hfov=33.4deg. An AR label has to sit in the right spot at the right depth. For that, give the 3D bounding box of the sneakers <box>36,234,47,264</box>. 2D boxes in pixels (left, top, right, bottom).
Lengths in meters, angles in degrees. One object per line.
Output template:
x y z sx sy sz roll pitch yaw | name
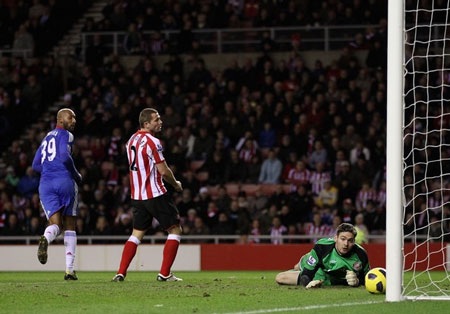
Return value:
-3.527 1.802 14.570 0.200 0.622 0.270 0 -6 -2 | sneakers

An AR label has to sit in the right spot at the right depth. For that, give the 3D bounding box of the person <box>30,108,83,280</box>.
-3.335 0.723 14.981 0.902 3.453 0.836 3 -2 -15 | person

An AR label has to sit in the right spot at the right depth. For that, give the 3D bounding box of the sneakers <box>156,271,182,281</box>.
-1.111 2.350 14.816 0.499 0.209 0.189 1 -3 -9 | sneakers

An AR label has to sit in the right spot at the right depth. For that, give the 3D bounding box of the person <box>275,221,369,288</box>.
2.016 1.989 14.645 0.948 0.806 1.581 4 -14 0 | person

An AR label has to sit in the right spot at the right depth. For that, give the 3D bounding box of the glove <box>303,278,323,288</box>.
1.644 2.374 14.017 0.239 0.094 0.167 -16 -4 14 | glove

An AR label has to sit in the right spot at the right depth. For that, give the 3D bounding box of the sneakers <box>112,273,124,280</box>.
-2.125 2.375 14.757 0.248 0.129 0.123 3 -32 1 | sneakers

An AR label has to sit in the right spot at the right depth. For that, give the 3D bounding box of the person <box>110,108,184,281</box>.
-1.473 0.746 14.769 1.207 3.430 0.499 3 -2 -7 | person

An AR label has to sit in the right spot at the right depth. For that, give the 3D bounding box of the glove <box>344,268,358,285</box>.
2.390 2.289 14.143 0.252 0.302 0.259 2 -3 7 | glove
